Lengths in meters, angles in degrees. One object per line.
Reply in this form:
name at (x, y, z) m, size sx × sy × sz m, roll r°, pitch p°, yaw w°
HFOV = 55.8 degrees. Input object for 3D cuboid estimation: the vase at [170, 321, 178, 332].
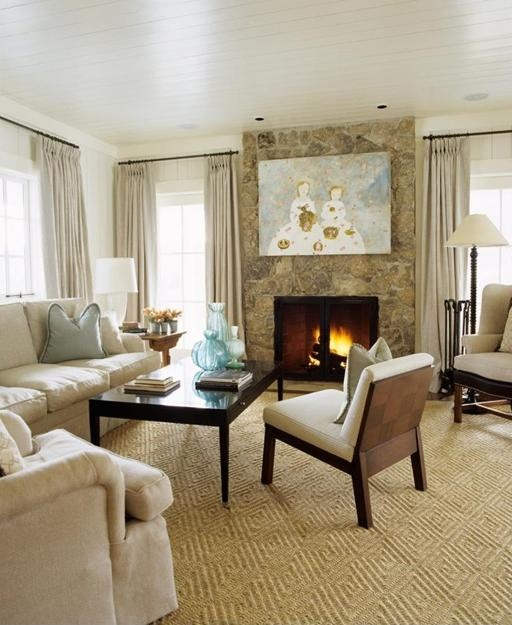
vase at (-0.753, 0.133, 4.445) m, size 0.092 × 0.101 × 0.092 m, roll 0°, pitch 5°, yaw 5°

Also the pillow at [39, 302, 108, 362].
pillow at (-1.347, 0.164, 3.544) m, size 0.426 × 0.375 × 0.177 m, roll 1°, pitch -16°, yaw -34°

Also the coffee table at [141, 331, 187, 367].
coffee table at (-0.855, 0.292, 4.393) m, size 0.304 × 0.436 × 0.452 m, roll 2°, pitch 6°, yaw 14°

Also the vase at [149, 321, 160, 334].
vase at (-0.905, 0.146, 4.404) m, size 0.123 × 0.113 × 0.089 m, roll 6°, pitch 13°, yaw 15°

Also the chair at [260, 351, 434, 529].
chair at (0.463, 0.495, 2.470) m, size 0.864 × 0.829 × 0.656 m, roll 6°, pitch 7°, yaw 44°

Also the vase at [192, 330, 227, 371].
vase at (-0.294, 0.246, 3.149) m, size 0.248 × 0.257 × 0.242 m, roll 12°, pitch 16°, yaw 35°

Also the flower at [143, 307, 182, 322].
flower at (-0.874, 0.025, 4.429) m, size 0.223 × 0.086 × 0.200 m, roll 0°, pitch -3°, yaw 6°
